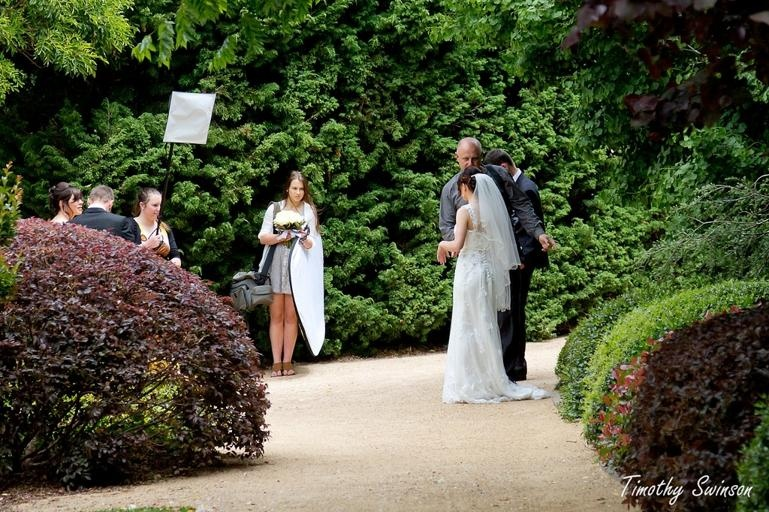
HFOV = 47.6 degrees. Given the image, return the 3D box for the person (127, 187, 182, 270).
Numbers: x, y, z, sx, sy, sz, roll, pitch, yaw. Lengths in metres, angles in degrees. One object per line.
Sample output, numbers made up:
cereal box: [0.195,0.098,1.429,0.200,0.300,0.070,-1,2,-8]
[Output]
person: [-2.830,-0.404,10.739,0.518,0.900,0.807,-3,3,-15]

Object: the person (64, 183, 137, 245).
person: [-3.125,-0.472,9.634,0.509,0.640,0.787,-2,3,-2]

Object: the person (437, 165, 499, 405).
person: [0.975,0.399,10.218,0.672,2.579,0.518,-2,4,5]

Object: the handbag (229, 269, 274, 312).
handbag: [-1.902,0.470,12.148,0.537,0.511,0.554,-3,1,-43]

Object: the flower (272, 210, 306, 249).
flower: [-1.374,-0.409,12.373,0.404,0.409,0.412,-4,-37,-13]
